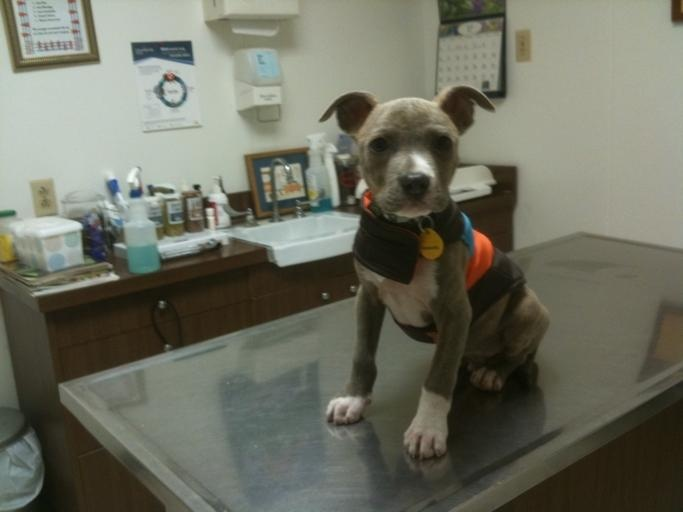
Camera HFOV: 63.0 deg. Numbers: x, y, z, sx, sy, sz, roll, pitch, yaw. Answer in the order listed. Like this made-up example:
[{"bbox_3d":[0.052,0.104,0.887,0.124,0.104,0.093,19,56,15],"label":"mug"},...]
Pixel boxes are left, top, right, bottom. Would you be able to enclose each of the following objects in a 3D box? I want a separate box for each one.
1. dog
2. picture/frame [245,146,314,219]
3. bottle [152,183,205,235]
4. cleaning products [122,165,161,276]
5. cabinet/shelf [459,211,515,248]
[{"bbox_3d":[0.189,-0.013,1.083,0.306,0.642,0.444,8,17,41],"label":"dog"},{"bbox_3d":[-0.311,-0.348,2.635,0.293,0.274,0.023,-16,11,-41],"label":"picture/frame"},{"bbox_3d":[-0.665,-0.222,2.303,0.204,0.275,0.184,9,18,39],"label":"bottle"},{"bbox_3d":[-0.768,-0.136,2.057,0.112,0.284,0.461,-11,19,-21],"label":"cleaning products"},{"bbox_3d":[0.739,-0.100,2.887,0.274,0.165,0.268,-1,-17,-30],"label":"cabinet/shelf"}]
